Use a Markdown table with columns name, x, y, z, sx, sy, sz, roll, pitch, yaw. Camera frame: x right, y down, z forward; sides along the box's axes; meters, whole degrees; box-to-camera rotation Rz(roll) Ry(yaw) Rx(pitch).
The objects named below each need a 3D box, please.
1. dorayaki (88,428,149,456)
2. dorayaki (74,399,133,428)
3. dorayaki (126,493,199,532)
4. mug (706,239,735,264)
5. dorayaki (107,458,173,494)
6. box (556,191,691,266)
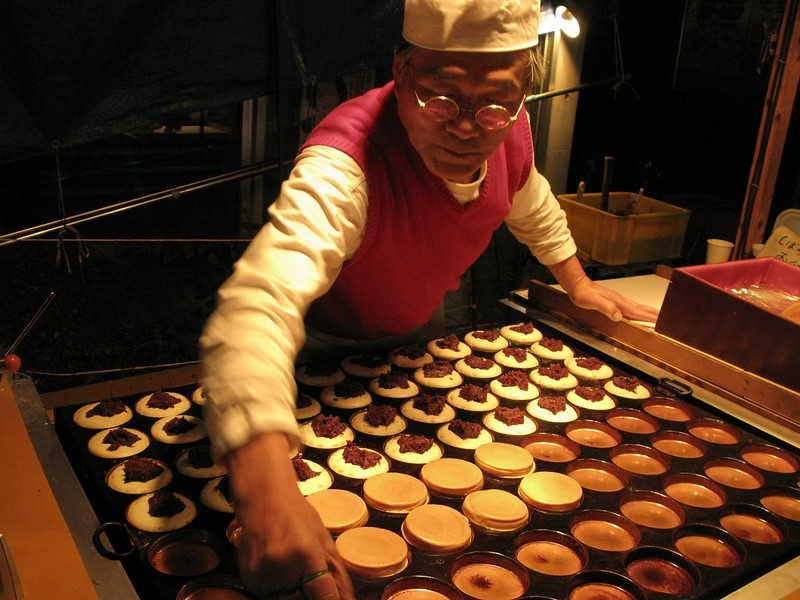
| name | x | y | z | sx | sy | sz | roll | pitch | yaw |
| --- | --- | --- | --- | --- | --- | --- | --- | --- | --- |
| dorayaki | -0.918 | 0.471 | 1.960 | 0.113 | 0.032 | 0.115 | 22 | 25 | 40 |
| dorayaki | -1.039 | 0.392 | 2.062 | 0.129 | 0.034 | 0.110 | 4 | 17 | 4 |
| dorayaki | -0.693 | 0.608 | 1.741 | 0.188 | 0.056 | 0.163 | -7 | 21 | -21 |
| mug | 2.050 | -0.307 | 3.844 | 0.154 | 0.137 | 0.264 | 9 | 21 | 20 |
| dorayaki | -0.806 | 0.545 | 1.842 | 0.128 | 0.031 | 0.127 | 22 | 28 | 34 |
| box | 1.571 | -0.517 | 4.353 | 0.683 | 0.284 | 0.797 | -10 | 19 | -28 |
